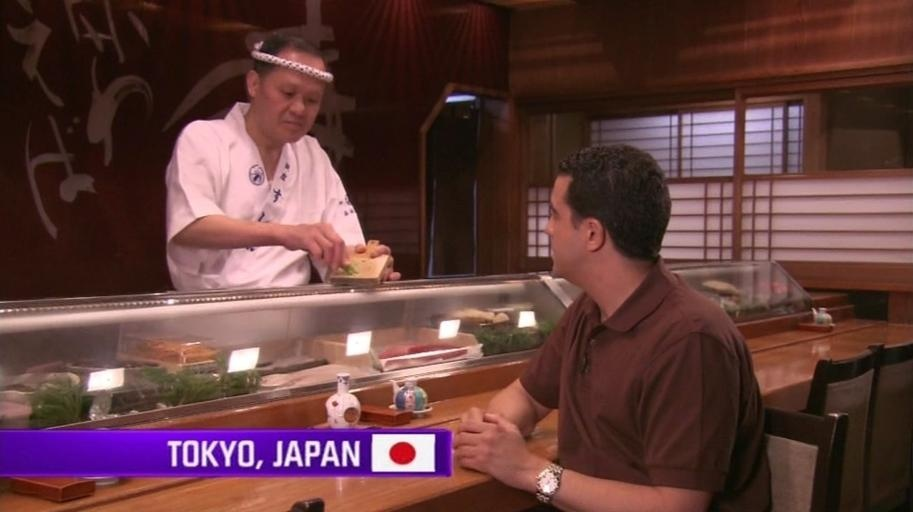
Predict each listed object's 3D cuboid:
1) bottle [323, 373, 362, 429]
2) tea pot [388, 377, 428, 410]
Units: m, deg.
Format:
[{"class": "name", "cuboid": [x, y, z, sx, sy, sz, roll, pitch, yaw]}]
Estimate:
[{"class": "bottle", "cuboid": [-0.455, 0.574, 2.403, 0.135, 0.156, 0.100, -4, 2, -13]}, {"class": "tea pot", "cuboid": [-0.195, 0.585, 2.577, 0.164, 0.116, 0.121, -1, -2, 14]}]
